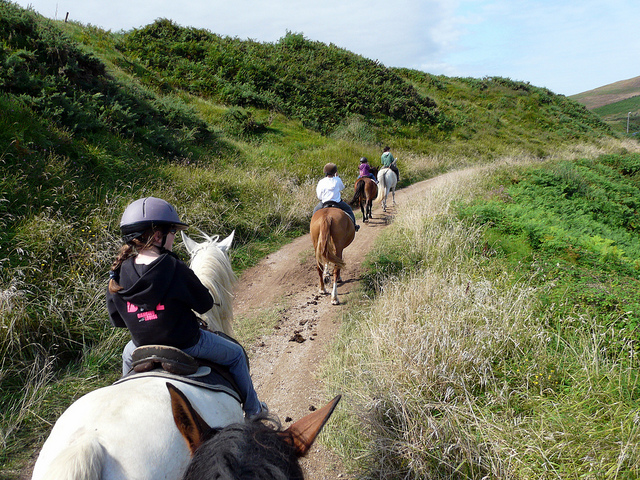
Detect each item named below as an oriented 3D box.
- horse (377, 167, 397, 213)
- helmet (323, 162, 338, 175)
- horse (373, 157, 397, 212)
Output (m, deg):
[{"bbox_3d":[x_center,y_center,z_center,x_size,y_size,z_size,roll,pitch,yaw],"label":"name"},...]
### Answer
[{"bbox_3d":[2.690,-2.093,19.403,0.552,1.793,2.504,3,11,21],"label":"horse"},{"bbox_3d":[0.248,-1.687,11.830,0.273,0.264,0.450,-11,13,-4],"label":"helmet"},{"bbox_3d":[2.621,-2.193,19.325,0.580,1.969,2.674,4,8,20],"label":"horse"}]
